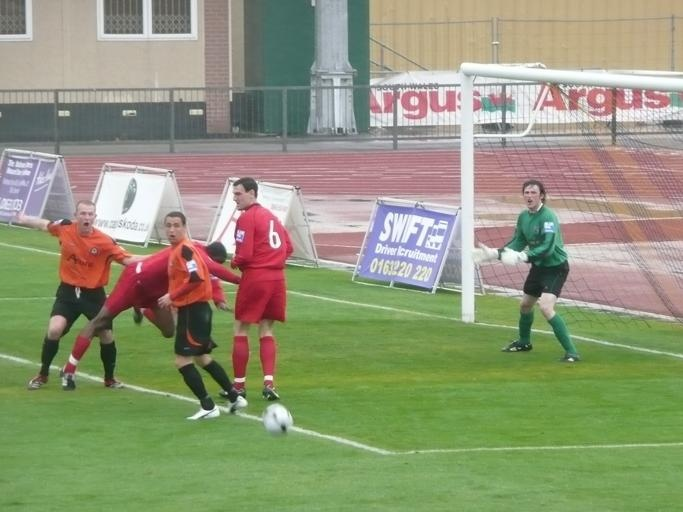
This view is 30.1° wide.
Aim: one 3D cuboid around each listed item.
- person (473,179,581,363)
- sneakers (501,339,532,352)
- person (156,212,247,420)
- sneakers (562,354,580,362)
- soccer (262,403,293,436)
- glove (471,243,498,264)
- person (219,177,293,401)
[{"bbox_3d":[2.584,0.193,16.650,0.847,2.326,1.359,-13,19,-43],"label":"person"},{"bbox_3d":[2.383,1.233,17.033,0.440,0.151,0.142,1,0,-9],"label":"sneakers"},{"bbox_3d":[-1.675,0.636,14.734,0.913,2.285,1.276,-1,14,-5],"label":"person"},{"bbox_3d":[3.008,1.345,16.519,0.255,0.095,0.080,3,6,14],"label":"sneakers"},{"bbox_3d":[-0.674,1.772,13.615,0.274,0.251,0.342,-7,-6,-18],"label":"soccer"},{"bbox_3d":[1.935,-0.030,16.840,0.472,0.262,0.185,3,-28,7],"label":"glove"},{"bbox_3d":[-1.058,0.401,15.372,0.898,2.600,0.971,-3,-6,45],"label":"person"}]
